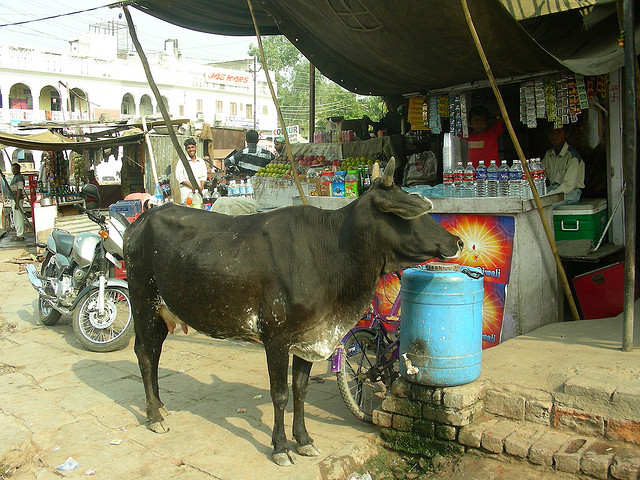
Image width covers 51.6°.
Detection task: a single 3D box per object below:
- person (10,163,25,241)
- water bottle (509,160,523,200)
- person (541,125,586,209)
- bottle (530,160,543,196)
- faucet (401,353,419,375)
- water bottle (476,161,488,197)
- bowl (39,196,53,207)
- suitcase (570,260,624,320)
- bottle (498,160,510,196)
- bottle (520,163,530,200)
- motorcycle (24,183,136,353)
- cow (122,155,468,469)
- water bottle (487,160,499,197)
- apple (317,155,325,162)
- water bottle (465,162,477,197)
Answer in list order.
[{"bbox_3d":[-7.947,-0.909,17.450,0.416,1.543,1.699,-6,15,-23],"label":"person"},{"bbox_3d":[2.276,-0.688,7.677,0.162,0.335,0.407,3,14,16],"label":"water bottle"},{"bbox_3d":[3.314,-1.025,8.991,0.554,1.010,0.842,4,14,19],"label":"person"},{"bbox_3d":[2.657,-0.770,8.118,0.162,0.376,0.441,3,14,16],"label":"bottle"},{"bbox_3d":[0.841,1.150,6.182,0.097,0.176,0.060,-31,-18,36],"label":"faucet"},{"bbox_3d":[1.898,-0.714,7.739,0.140,0.406,0.338,3,14,13],"label":"water bottle"},{"bbox_3d":[-6.281,-0.886,15.223,0.219,0.222,0.220,0,-4,0],"label":"bowl"},{"bbox_3d":[3.407,0.637,8.104,0.579,0.470,0.319,-19,-6,39],"label":"suitcase"},{"bbox_3d":[2.139,-0.713,7.703,0.132,0.367,0.262,3,14,15],"label":"bottle"},{"bbox_3d":[2.380,-0.656,7.666,0.108,0.338,0.383,3,14,17],"label":"bottle"},{"bbox_3d":[-3.299,0.377,9.243,2.583,1.909,1.110,10,-7,43],"label":"motorcycle"},{"bbox_3d":[-0.207,0.843,6.597,2.777,2.694,0.918,4,4,11],"label":"cow"},{"bbox_3d":[2.012,-0.694,7.674,0.140,0.370,0.357,3,14,14],"label":"water bottle"},{"bbox_3d":[0.028,-1.393,11.399,0.116,0.093,0.092,-5,24,-39],"label":"apple"},{"bbox_3d":[1.818,-0.700,8.058,0.182,0.498,0.194,4,-13,1],"label":"water bottle"}]
